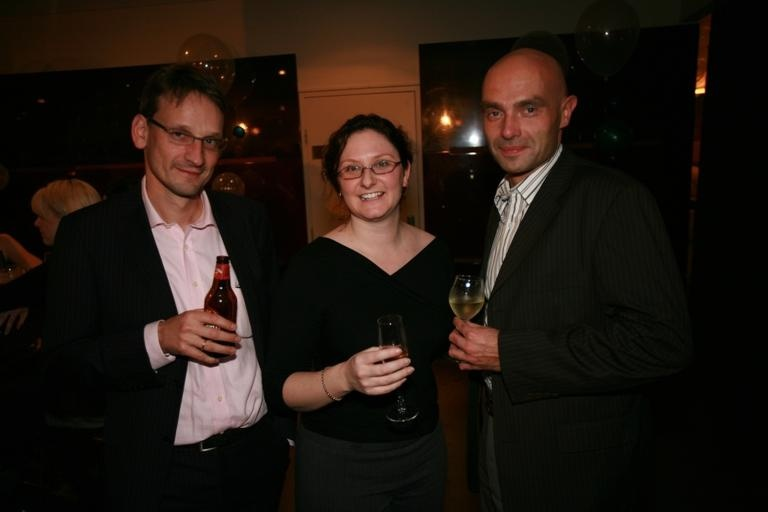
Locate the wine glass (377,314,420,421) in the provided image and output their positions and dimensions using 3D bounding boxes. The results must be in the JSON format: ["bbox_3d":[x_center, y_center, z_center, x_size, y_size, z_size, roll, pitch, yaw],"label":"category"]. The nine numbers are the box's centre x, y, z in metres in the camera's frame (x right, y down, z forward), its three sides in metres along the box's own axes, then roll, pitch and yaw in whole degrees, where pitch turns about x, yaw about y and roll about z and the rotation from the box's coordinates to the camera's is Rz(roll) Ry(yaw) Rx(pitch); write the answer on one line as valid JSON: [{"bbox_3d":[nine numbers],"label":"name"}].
[{"bbox_3d":[0.073,0.638,3.147,0.173,0.666,0.238,-1,15,11],"label":"wine glass"}]

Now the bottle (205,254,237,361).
[{"bbox_3d":[-0.938,0.201,3.289,0.189,0.404,0.368,-8,16,-15],"label":"bottle"}]

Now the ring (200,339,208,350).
[{"bbox_3d":[-0.984,0.492,3.158,0.046,0.061,0.022,-8,-3,-3],"label":"ring"}]

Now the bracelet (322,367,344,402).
[{"bbox_3d":[-0.287,0.698,3.110,0.116,0.166,0.054,-1,15,13],"label":"bracelet"}]
